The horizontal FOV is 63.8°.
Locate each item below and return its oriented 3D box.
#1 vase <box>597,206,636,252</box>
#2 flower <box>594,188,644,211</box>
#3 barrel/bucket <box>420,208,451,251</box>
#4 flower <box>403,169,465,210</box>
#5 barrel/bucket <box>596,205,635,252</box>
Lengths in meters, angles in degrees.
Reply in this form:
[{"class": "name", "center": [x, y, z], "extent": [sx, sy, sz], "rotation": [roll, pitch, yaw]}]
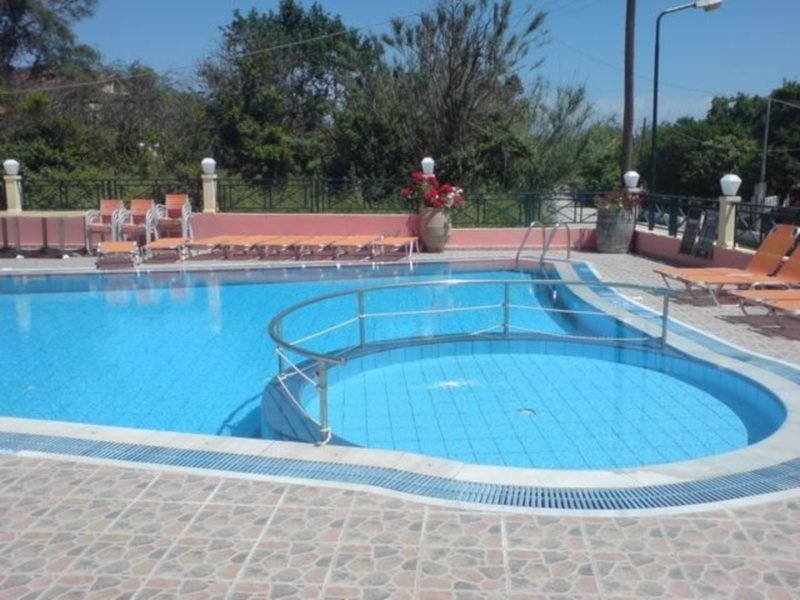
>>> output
[{"class": "vase", "center": [5.182, -1.666, 15.819], "extent": [1.097, 1.065, 1.089], "rotation": [2, 6, 24]}, {"class": "flower", "center": [5.497, -2.514, 15.908], "extent": [0.829, 0.429, 1.032], "rotation": [0, 15, 14]}, {"class": "barrel/bucket", "center": [0.815, -1.699, 15.165], "extent": [0.963, 1.003, 0.853], "rotation": [-7, 12, -34]}, {"class": "flower", "center": [0.845, -2.579, 15.567], "extent": [1.135, 0.945, 1.447], "rotation": [4, 2, 10]}, {"class": "barrel/bucket", "center": [5.272, -1.721, 15.716], "extent": [0.979, 0.946, 0.949], "rotation": [-1, 8, 0]}]
